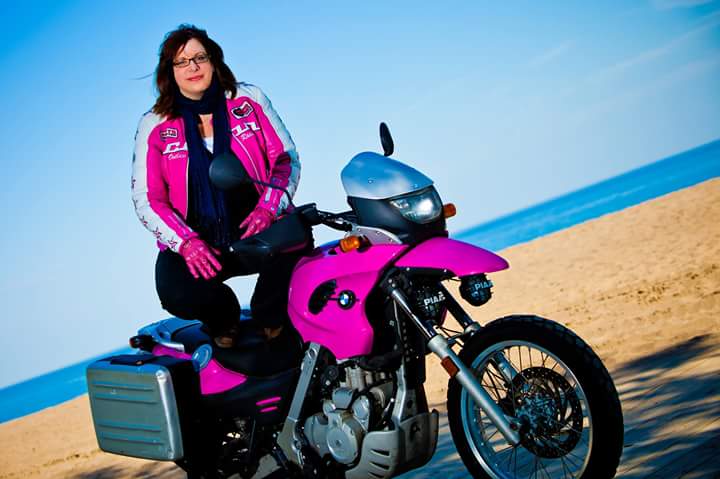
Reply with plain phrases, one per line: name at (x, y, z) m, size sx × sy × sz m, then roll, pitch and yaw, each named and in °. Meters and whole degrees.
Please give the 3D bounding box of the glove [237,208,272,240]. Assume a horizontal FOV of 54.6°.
glove at (-0.968, -0.166, 6.517) m, size 0.288 × 0.097 × 0.290 m, roll -41°, pitch 4°, yaw 7°
